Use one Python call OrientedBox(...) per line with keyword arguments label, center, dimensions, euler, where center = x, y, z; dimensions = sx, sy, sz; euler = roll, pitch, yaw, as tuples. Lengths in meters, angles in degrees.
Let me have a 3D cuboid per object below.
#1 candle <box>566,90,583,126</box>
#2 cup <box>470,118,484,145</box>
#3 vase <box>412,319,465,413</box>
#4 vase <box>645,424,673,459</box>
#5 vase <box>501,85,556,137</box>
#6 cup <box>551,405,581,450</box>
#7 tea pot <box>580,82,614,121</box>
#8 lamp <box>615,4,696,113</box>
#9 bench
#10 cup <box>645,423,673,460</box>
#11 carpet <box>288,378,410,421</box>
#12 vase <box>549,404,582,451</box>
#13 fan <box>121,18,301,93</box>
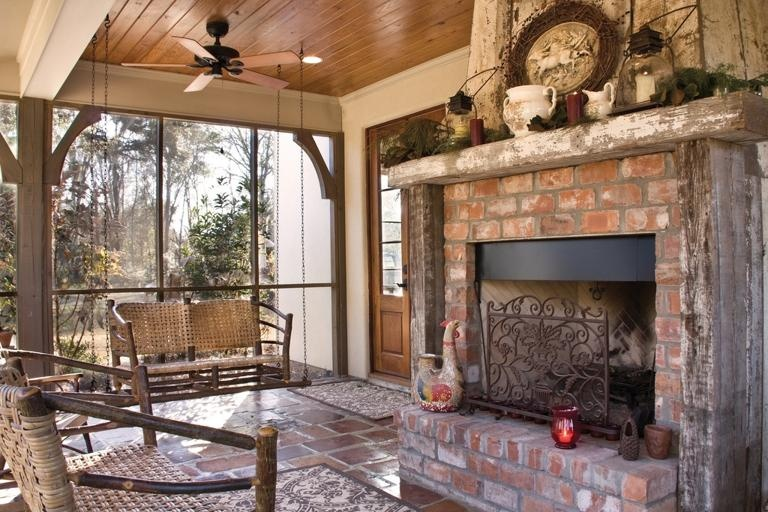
OrientedBox(label="candle", center=(1.073, -0.826, 3.096), dimensions=(0.096, 0.165, 0.100), euler=(0, 3, 6))
OrientedBox(label="cup", center=(0.596, -0.764, 3.482), dimensions=(0.108, 0.174, 0.126), euler=(-1, 3, -8))
OrientedBox(label="vase", center=(0.365, 0.726, 3.650), dimensions=(0.307, 0.578, 0.148), euler=(0, 3, 7))
OrientedBox(label="vase", center=(1.435, 0.972, 2.908), dimensions=(0.120, 0.151, 0.108), euler=(2, 4, 36))
OrientedBox(label="vase", center=(0.850, -0.842, 3.249), dimensions=(0.304, 0.301, 0.286), euler=(0, 3, 15))
OrientedBox(label="cup", center=(1.006, 0.939, 3.069), dimensions=(0.136, 0.205, 0.169), euler=(2, 4, 36))
OrientedBox(label="tea pot", center=(1.150, -0.832, 3.022), dimensions=(0.178, 0.218, 0.201), euler=(1, 4, 31))
OrientedBox(label="lamp", center=(1.376, -1.018, 2.914), dimensions=(0.237, 0.538, 0.410), euler=(-4, 4, -40))
OrientedBox(label="bench", center=(-1.616, 0.831, 4.952), dimensions=(1.562, 0.785, 0.631), euler=(2, -1, -42))
OrientedBox(label="cup", center=(1.417, 0.961, 2.882), dimensions=(0.160, 0.161, 0.152), euler=(0, -5, 0))
OrientedBox(label="carpet", center=(-0.233, 1.422, 5.638), dimensions=(0.858, 0.054, 1.467), euler=(-3, 3, -39))
OrientedBox(label="vase", center=(0.997, 0.929, 3.067), dimensions=(0.200, 0.232, 0.211), euler=(-3, -4, 36))
OrientedBox(label="fan", center=(-1.315, -1.711, 4.811), dimensions=(0.913, 0.484, 1.365), euler=(-2, 3, -20))
